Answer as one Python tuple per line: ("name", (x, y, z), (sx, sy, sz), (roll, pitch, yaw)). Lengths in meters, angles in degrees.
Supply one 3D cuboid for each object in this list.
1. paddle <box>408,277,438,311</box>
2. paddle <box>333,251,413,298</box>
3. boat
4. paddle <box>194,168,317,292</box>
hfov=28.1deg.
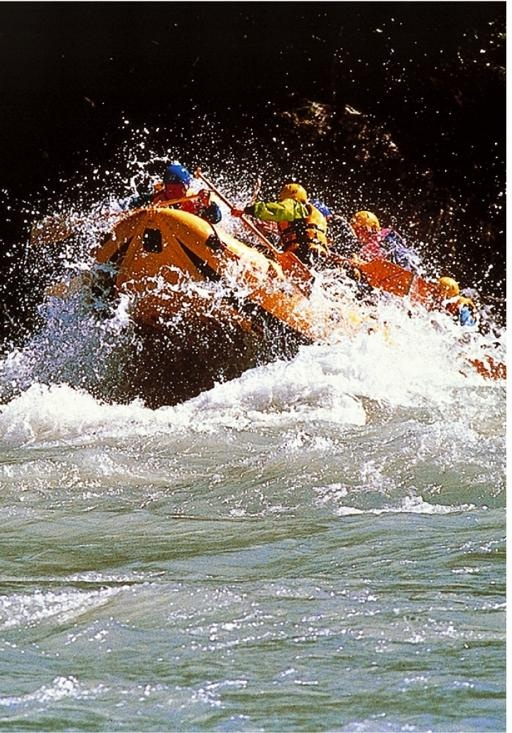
("paddle", (0.576, -0.257, 3.560), (0.123, 0.104, 0.032), (22, 6, 7))
("paddle", (0.416, -0.326, 3.576), (0.249, 0.059, 0.083), (18, -44, 6))
("boat", (0.104, -0.213, 3.744), (1.348, 0.576, 0.303), (14, -7, -16))
("paddle", (-0.016, -0.490, 3.565), (0.553, 0.081, 0.074), (42, 10, 1))
